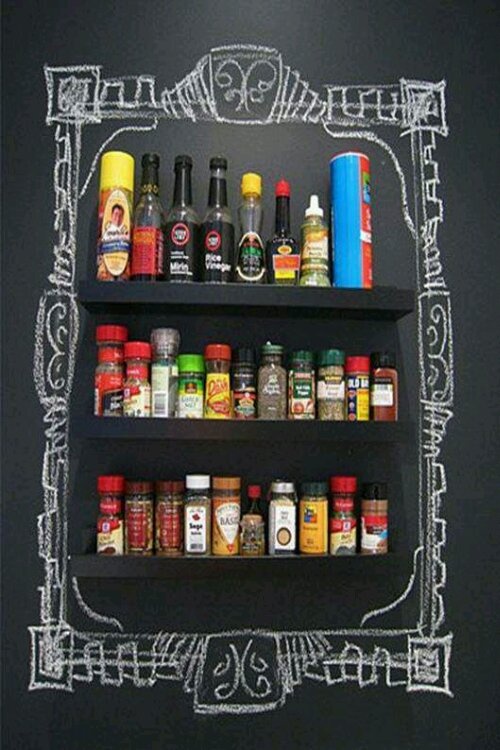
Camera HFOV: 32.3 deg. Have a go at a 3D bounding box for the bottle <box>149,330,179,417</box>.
[{"bbox_3d":[-0.165,-0.002,1.642,0.053,0.114,0.145,3,36,-7],"label":"bottle"}]

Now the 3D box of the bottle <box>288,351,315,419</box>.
[{"bbox_3d":[0.102,0.030,1.678,0.054,0.050,0.146,2,62,-6],"label":"bottle"}]

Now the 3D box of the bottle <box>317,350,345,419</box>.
[{"bbox_3d":[0.160,0.022,1.666,0.059,0.116,0.082,5,35,-4],"label":"bottle"}]

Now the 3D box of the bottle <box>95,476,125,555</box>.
[{"bbox_3d":[-0.264,0.264,1.639,0.051,0.113,0.107,1,36,-9],"label":"bottle"}]

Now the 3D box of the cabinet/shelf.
[{"bbox_3d":[0.044,0.106,1.835,0.224,0.557,0.625,-1,-1,-33],"label":"cabinet/shelf"}]

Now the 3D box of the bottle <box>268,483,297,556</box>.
[{"bbox_3d":[0.067,0.270,1.667,0.053,0.139,0.056,0,10,0],"label":"bottle"}]

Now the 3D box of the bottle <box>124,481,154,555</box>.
[{"bbox_3d":[-0.209,0.272,1.637,0.056,0.106,0.097,1,36,-10],"label":"bottle"}]

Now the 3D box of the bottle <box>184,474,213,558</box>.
[{"bbox_3d":[-0.098,0.267,1.635,0.053,0.111,0.118,3,36,-7],"label":"bottle"}]

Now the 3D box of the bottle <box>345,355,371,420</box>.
[{"bbox_3d":[0.208,0.025,1.670,0.042,0.097,0.085,2,36,-9],"label":"bottle"}]

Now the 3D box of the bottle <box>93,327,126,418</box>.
[{"bbox_3d":[-0.273,0.005,1.675,0.060,0.185,0.210,1,36,-9],"label":"bottle"}]

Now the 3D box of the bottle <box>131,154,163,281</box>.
[{"bbox_3d":[-0.197,-0.317,1.674,0.061,0.174,0.244,2,36,-8],"label":"bottle"}]

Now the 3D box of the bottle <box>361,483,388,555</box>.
[{"bbox_3d":[0.244,0.279,1.697,0.068,0.137,0.072,0,1,0],"label":"bottle"}]

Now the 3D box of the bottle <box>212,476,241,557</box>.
[{"bbox_3d":[-0.046,0.260,1.657,0.062,0.110,0.150,5,36,-4],"label":"bottle"}]

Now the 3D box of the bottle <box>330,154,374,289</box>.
[{"bbox_3d":[0.197,-0.295,1.662,0.090,0.207,0.172,5,35,-4],"label":"bottle"}]

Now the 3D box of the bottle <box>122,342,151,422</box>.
[{"bbox_3d":[-0.212,0.008,1.626,0.052,0.104,0.128,2,36,-8],"label":"bottle"}]

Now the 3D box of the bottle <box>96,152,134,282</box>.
[{"bbox_3d":[-0.257,-0.301,1.642,0.062,0.183,0.175,1,36,-10],"label":"bottle"}]

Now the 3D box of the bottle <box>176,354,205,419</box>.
[{"bbox_3d":[-0.115,0.028,1.653,0.050,0.128,0.051,0,-6,0],"label":"bottle"}]

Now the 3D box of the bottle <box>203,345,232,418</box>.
[{"bbox_3d":[-0.059,0.018,1.638,0.054,0.112,0.123,2,36,-8],"label":"bottle"}]

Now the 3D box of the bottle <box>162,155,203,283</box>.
[{"bbox_3d":[-0.129,-0.299,1.657,0.069,0.177,0.205,3,36,-6],"label":"bottle"}]

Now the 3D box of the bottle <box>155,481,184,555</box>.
[{"bbox_3d":[-0.153,0.273,1.639,0.053,0.102,0.099,1,36,-9],"label":"bottle"}]
